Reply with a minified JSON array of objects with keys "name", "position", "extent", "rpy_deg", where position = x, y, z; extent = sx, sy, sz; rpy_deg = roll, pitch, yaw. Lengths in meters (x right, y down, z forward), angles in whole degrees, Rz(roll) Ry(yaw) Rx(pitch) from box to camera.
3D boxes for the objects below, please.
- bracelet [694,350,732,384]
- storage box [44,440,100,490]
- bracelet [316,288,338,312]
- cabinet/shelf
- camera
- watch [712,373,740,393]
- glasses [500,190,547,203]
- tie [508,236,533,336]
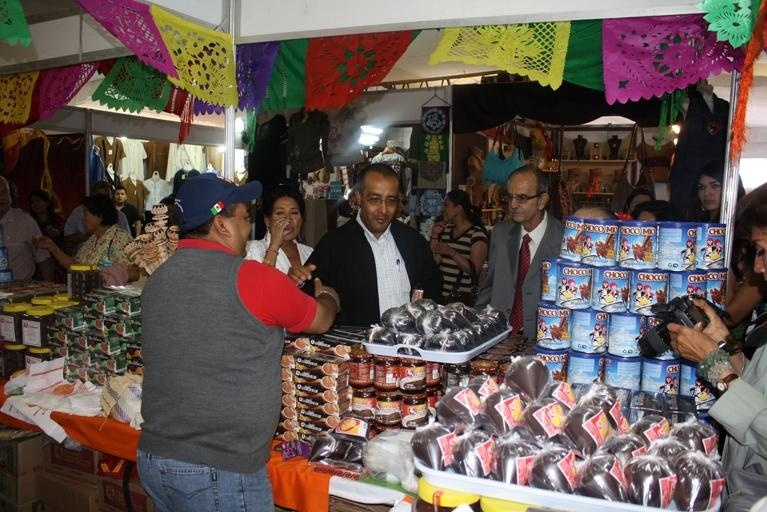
[{"name":"bracelet","position":[1.557,0.514,2.695],"extent":[0.064,0.158,0.142],"rpy_deg":[51,-23,-23]},{"name":"storage box","position":[-1.932,1.388,3.820],"extent":[0.476,0.231,0.293],"rpy_deg":[6,-13,23]},{"name":"bracelet","position":[-0.305,0.254,3.214],"extent":[0.106,0.048,0.138],"rpy_deg":[13,12,-35]},{"name":"cabinet/shelf","position":[2.859,-1.271,7.669],"extent":[1.401,1.189,0.425],"rpy_deg":[1,-2,13]},{"name":"camera","position":[1.369,0.338,2.854],"extent":[0.186,0.317,0.289],"rpy_deg":[38,15,-23]},{"name":"watch","position":[1.571,0.583,2.628],"extent":[0.080,0.045,0.078],"rpy_deg":[-7,-32,-35]},{"name":"glasses","position":[1.072,-0.433,4.191],"extent":[0.235,0.057,0.227],"rpy_deg":[-3,2,-40]},{"name":"tie","position":[0.996,0.185,4.150],"extent":[0.104,0.716,0.280],"rpy_deg":[6,0,13]}]
